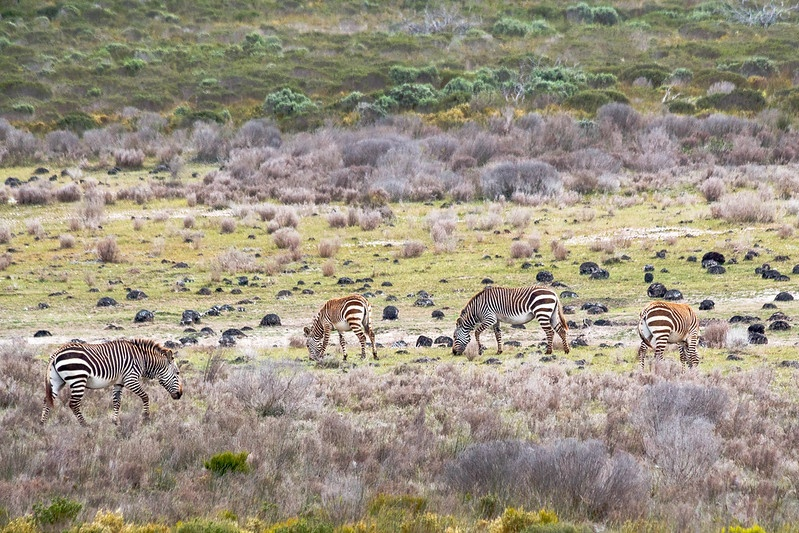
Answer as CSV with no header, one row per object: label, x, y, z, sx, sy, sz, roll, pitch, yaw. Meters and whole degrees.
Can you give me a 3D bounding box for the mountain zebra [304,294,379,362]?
mountain zebra,-3.241,3.351,77.840,4.563,3.678,1.343,-10,-5,38
